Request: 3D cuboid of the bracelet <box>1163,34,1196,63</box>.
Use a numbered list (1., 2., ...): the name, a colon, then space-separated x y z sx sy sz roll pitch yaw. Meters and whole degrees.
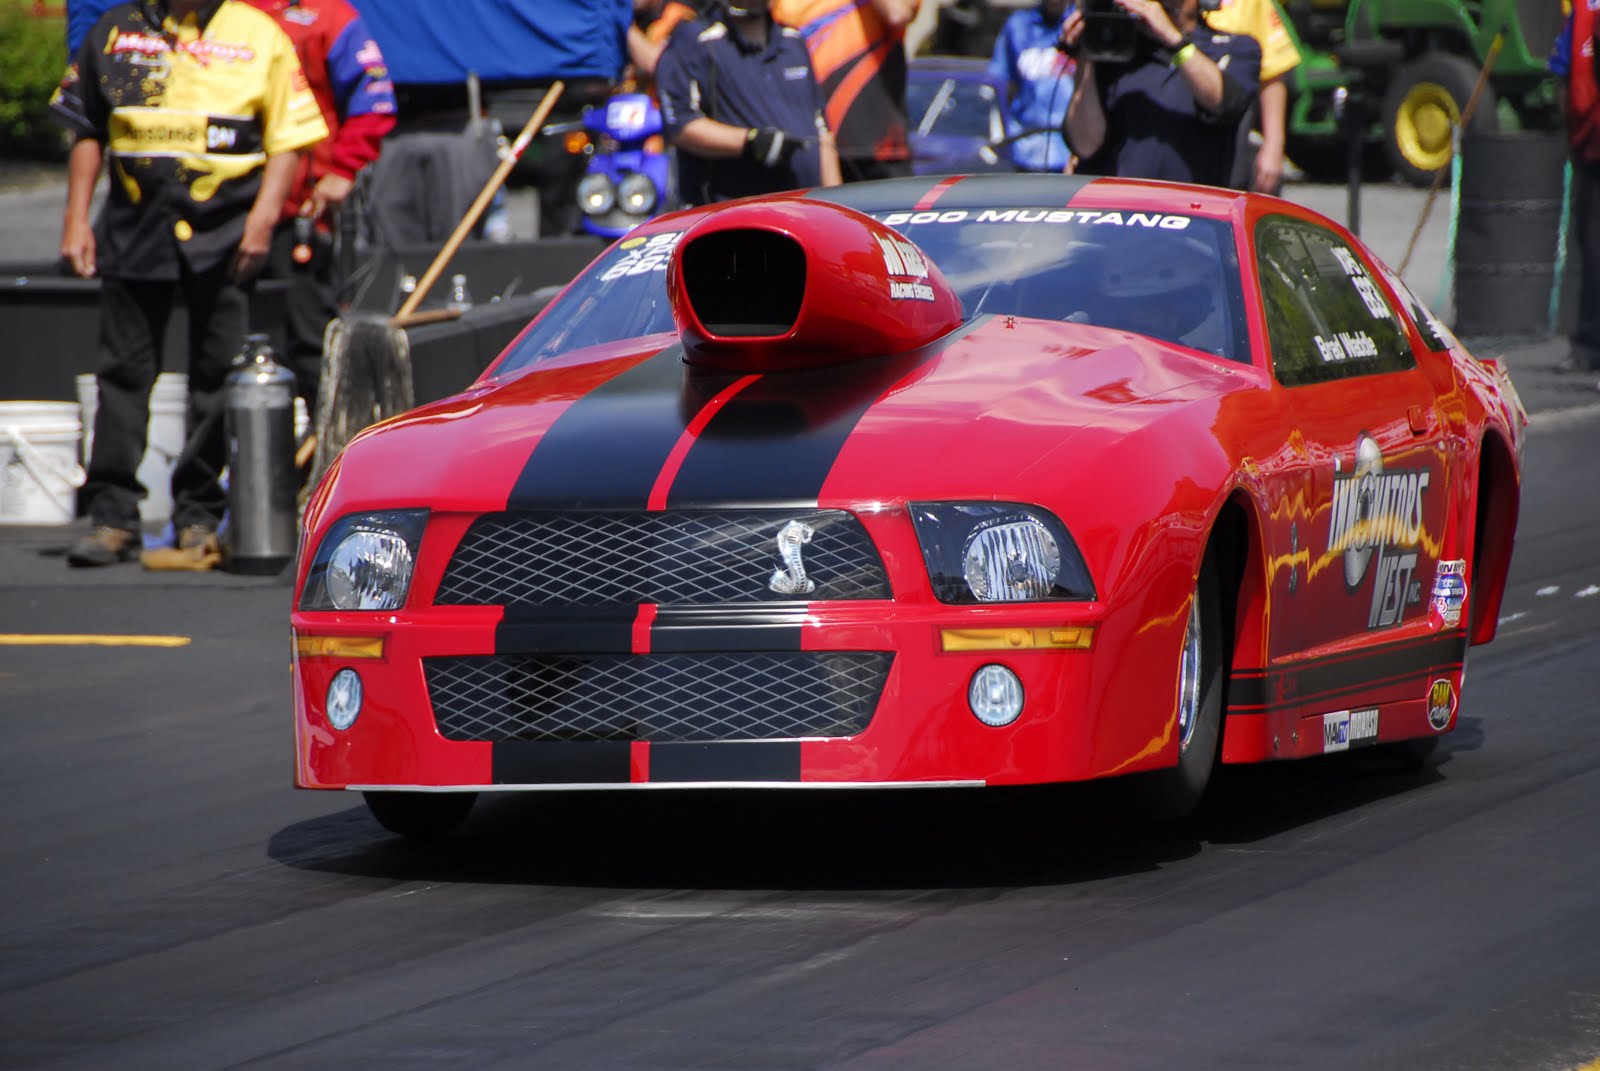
1. bracelet: 1.862 -2.368 8.952 0.124 0.131 0.132 0 6 5
